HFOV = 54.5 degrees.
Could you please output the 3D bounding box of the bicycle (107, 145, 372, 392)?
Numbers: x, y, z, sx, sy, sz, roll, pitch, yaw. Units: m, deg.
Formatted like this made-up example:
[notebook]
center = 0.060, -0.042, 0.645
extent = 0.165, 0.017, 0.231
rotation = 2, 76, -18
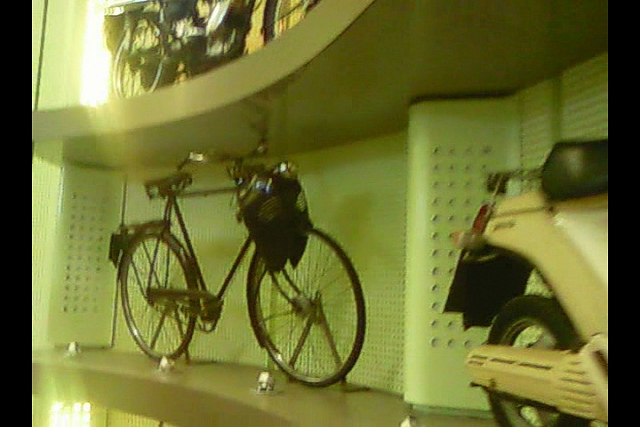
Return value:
[bicycle]
center = -0.647, 0.364, 3.990
extent = 2.105, 1.368, 0.923
rotation = -1, 4, 33
